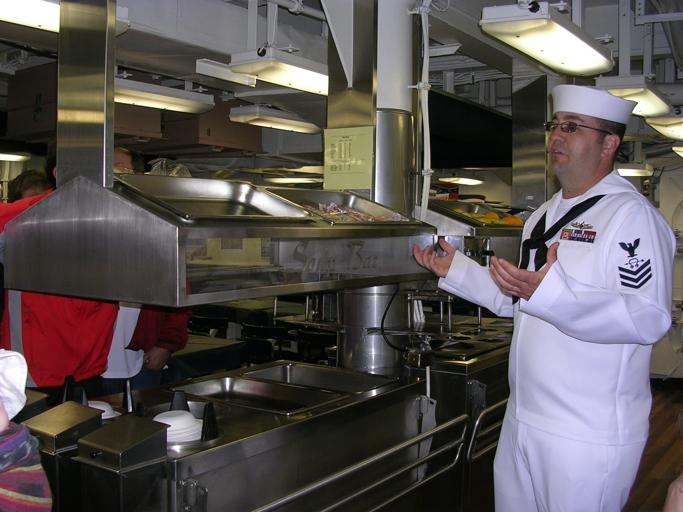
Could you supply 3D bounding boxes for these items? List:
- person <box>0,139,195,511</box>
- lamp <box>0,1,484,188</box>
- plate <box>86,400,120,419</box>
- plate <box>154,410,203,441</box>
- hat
[{"bbox_3d":[-1.306,0.090,3.110,0.547,1.303,1.199,-2,-1,15],"label":"person"},{"bbox_3d":[-0.640,-1.132,4.132,2.346,1.334,1.210,3,-3,30],"label":"lamp"},{"bbox_3d":[-0.887,0.580,2.303,0.104,0.053,0.218,-1,-2,-30],"label":"plate"},{"bbox_3d":[-0.554,0.593,2.108,0.132,0.026,0.122,2,2,13],"label":"plate"},{"bbox_3d":[0.966,-0.596,2.415,0.374,0.120,0.320,10,2,23],"label":"hat"}]
